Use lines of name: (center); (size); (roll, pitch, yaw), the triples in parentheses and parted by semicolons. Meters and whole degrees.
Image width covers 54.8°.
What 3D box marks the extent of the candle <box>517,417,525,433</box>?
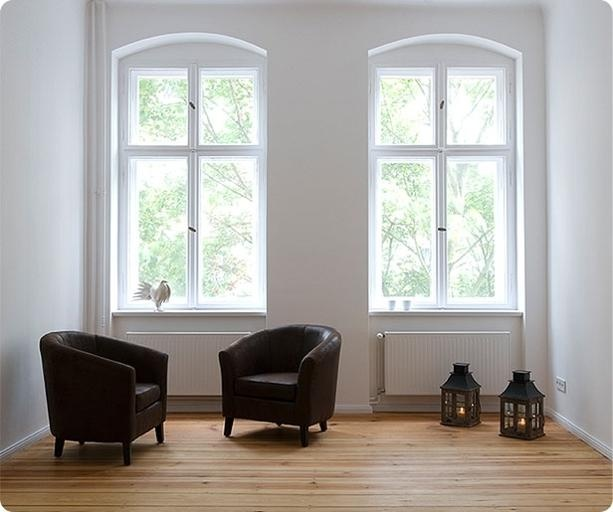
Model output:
candle: (1.755, 1.381, 4.840); (0.081, 0.144, 0.083); (0, 0, 8)

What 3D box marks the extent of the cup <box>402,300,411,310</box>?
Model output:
cup: (0.961, 0.470, 5.668); (0.072, 0.102, 0.052); (2, 1, 3)

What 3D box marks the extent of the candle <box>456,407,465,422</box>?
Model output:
candle: (1.333, 1.365, 5.124); (0.082, 0.145, 0.083); (4, -4, -9)

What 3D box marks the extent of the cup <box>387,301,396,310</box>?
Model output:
cup: (0.811, 0.468, 5.654); (0.075, 0.083, 0.078); (1, -6, 0)
